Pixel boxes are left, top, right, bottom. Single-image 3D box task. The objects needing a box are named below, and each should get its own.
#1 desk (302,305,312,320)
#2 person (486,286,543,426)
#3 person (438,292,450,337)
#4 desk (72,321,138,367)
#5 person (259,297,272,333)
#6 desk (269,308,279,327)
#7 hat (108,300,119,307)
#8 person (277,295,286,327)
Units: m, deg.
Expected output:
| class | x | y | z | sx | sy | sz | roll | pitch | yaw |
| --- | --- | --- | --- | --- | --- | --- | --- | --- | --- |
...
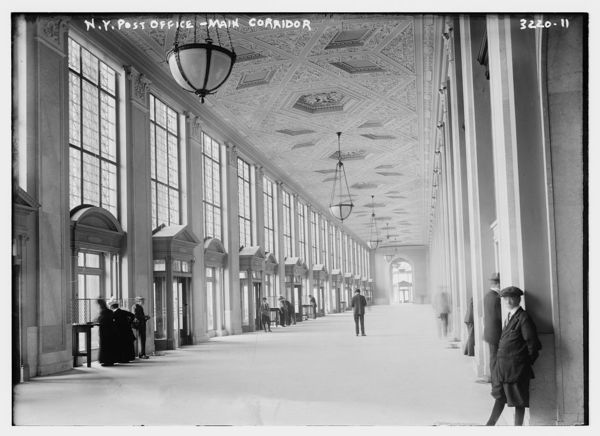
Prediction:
| class | x | y | z | sx | sy | sz | roll | pitch | yaw |
| --- | --- | --- | --- | --- | --- | --- | --- | --- | --- |
| desk | 0.348 | 4.552 | 31.387 | 0.563 | 0.518 | 1.073 | -2 | -4 | 7 |
| person | 2.852 | 1.806 | 8.766 | 0.721 | 1.721 | 0.427 | -9 | -11 | 24 |
| person | 3.852 | 2.579 | 17.471 | 0.310 | 1.192 | 1.556 | -6 | -11 | 12 |
| desk | -4.393 | 2.725 | 14.215 | 0.950 | 1.110 | 1.152 | -8 | -12 | 28 |
| person | -1.220 | 3.426 | 23.083 | 0.338 | 1.267 | 1.379 | -3 | -11 | -5 |
| desk | -0.981 | 3.939 | 25.776 | 0.587 | 0.823 | 0.607 | -1 | -2 | 0 |
| hat | -4.185 | 1.931 | 14.637 | 0.200 | 0.055 | 0.197 | -15 | -11 | 31 |
| person | -0.672 | 3.682 | 25.537 | 0.274 | 1.155 | 0.936 | -4 | -10 | -2 |
